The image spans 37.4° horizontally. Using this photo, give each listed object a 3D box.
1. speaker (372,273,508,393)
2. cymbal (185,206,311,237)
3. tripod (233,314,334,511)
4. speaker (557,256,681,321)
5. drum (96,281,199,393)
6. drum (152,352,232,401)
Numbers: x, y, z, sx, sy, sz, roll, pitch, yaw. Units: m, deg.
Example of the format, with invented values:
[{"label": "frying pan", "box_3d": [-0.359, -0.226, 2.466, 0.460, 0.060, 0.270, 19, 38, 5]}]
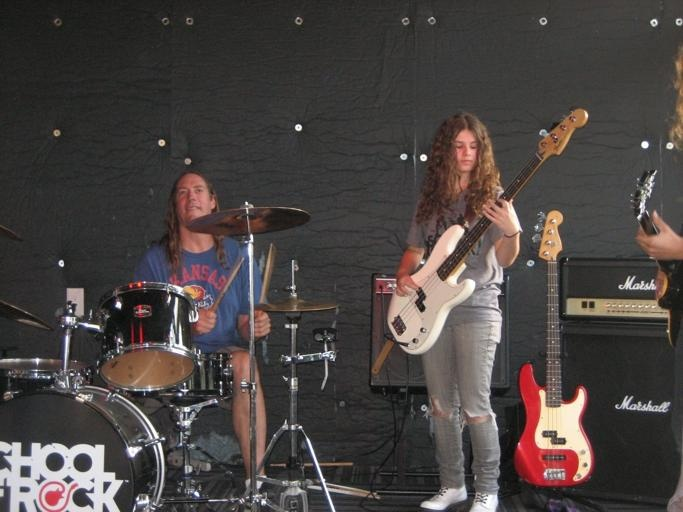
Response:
[{"label": "speaker", "box_3d": [0.646, 0.479, 6.122, 0.832, 0.711, 0.319, 0, -6, 10]}, {"label": "cymbal", "box_3d": [-0.506, -0.198, 5.787, 0.343, 0.066, 0.338, -12, -15, 21]}, {"label": "tripod", "box_3d": [-0.283, 0.918, 6.177, 0.510, 1.271, 1.118, 0, 1, -1]}, {"label": "speaker", "box_3d": [1.662, 0.202, 6.205, 0.654, 0.387, 0.389, 1, -6, 8]}, {"label": "drum", "box_3d": [-1.076, 0.438, 5.633, 0.638, 0.434, 0.609, -5, -34, -3]}, {"label": "drum", "box_3d": [-0.820, 0.680, 5.778, 0.318, 0.199, 0.313, 0, -5, 0]}]
